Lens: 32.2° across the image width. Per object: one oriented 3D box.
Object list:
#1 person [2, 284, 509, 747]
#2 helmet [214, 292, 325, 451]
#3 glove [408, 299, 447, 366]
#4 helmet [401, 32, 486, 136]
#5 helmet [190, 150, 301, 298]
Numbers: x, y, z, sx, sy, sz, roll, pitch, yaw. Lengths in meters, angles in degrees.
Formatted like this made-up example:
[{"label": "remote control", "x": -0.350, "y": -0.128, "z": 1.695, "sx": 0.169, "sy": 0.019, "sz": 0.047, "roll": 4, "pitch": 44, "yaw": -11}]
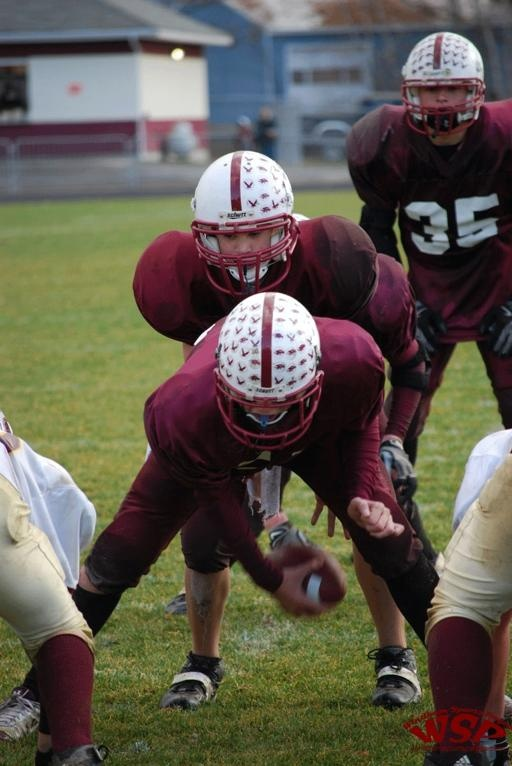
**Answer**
[{"label": "person", "x": 0.095, "y": 0.185, "z": 2.212, "sx": 1.370, "sy": 1.053, "sz": 0.842, "roll": -5, "pitch": 14, "yaw": -11}, {"label": "helmet", "x": 0.066, "y": -0.043, "z": 1.819, "sx": 0.249, "sy": 0.244, "sz": 0.301, "roll": 2, "pitch": 49, "yaw": 2}, {"label": "glove", "x": 0.581, "y": -0.177, "z": 2.944, "sx": 0.186, "sy": 0.127, "sz": 0.056, "roll": -12, "pitch": 28, "yaw": -43}, {"label": "helmet", "x": 0.601, "y": -0.964, "z": 2.814, "sx": 0.270, "sy": 0.264, "sz": 0.331, "roll": 12, "pitch": 40, "yaw": 29}, {"label": "helmet", "x": -0.032, "y": -0.405, "z": 2.254, "sx": 0.267, "sy": 0.368, "sz": 0.228, "roll": -3, "pitch": 10, "yaw": -3}]
